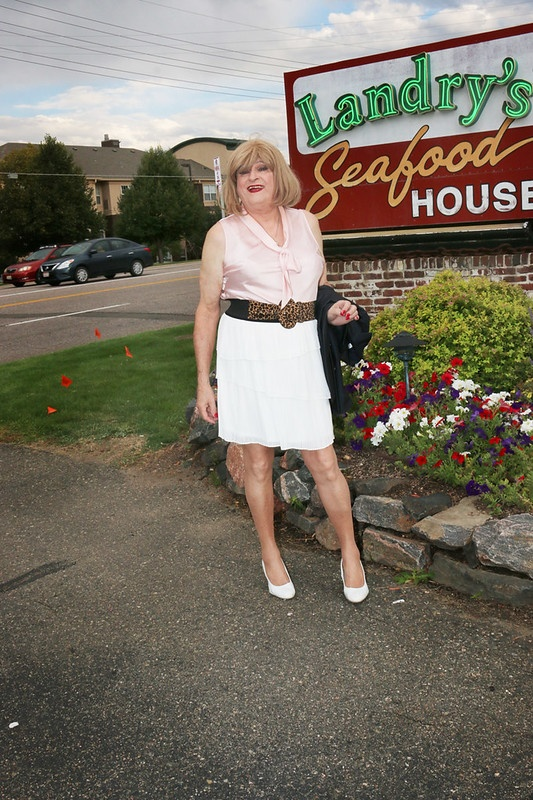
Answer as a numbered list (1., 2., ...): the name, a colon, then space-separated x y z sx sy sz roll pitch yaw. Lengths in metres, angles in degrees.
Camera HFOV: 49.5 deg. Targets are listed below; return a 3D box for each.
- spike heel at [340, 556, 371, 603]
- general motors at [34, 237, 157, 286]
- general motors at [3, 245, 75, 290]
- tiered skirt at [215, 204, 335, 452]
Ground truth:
1. spike heel: 0.395 0.814 2.638 0.080 0.060 0.229 -7 34 3
2. general motors: -6.909 -5.739 24.333 4.257 1.700 2.008 -11 10 -38
3. general motors: -10.527 -5.937 26.017 1.702 1.592 3.646 9 16 41
4. tiered skirt: 0.009 -0.279 2.420 0.463 1.001 0.244 -5 9 -6
